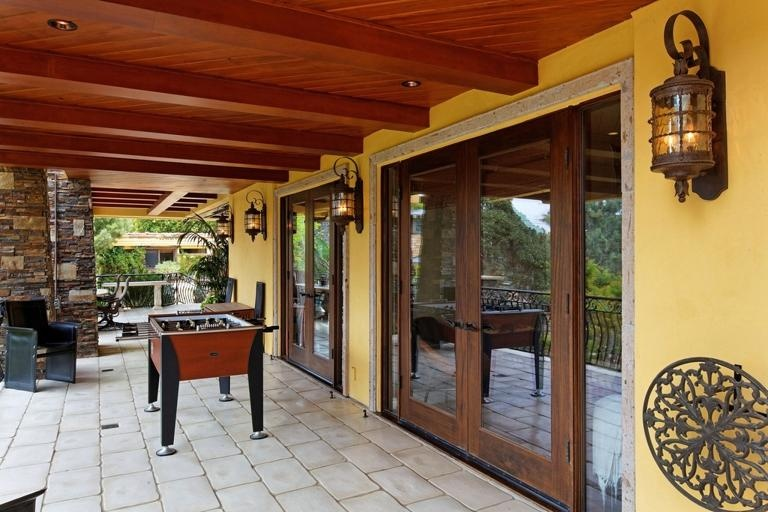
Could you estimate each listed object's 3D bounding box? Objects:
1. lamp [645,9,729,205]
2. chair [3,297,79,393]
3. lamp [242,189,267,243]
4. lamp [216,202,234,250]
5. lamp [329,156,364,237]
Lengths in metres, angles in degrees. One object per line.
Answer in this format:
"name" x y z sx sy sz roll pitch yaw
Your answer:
"lamp" 1.810 -0.902 3.252 0.425 1.143 0.315 -4 8 -27
"chair" -4.432 1.132 7.069 0.789 1.080 0.945 -2 7 -17
"lamp" -2.140 -0.653 9.154 0.332 0.866 0.943 -2 6 -13
"lamp" -3.116 -0.620 10.785 0.331 0.791 1.398 -2 6 -15
"lamp" -0.429 -0.715 6.348 0.367 0.891 0.592 -1 7 -5
